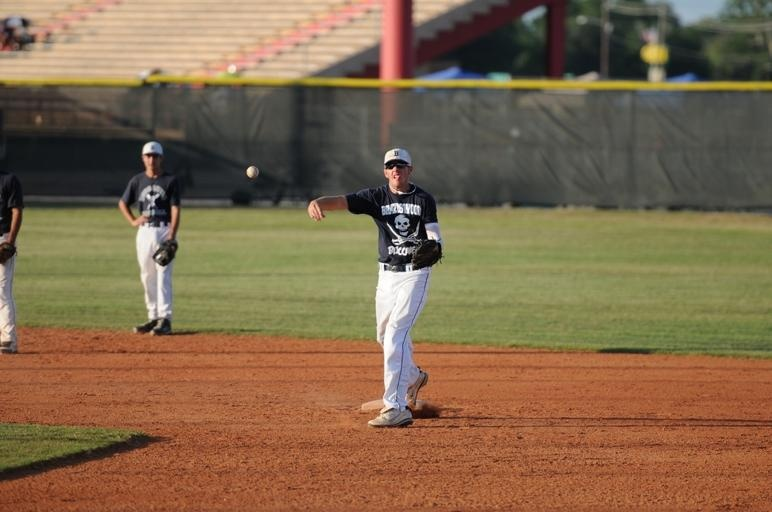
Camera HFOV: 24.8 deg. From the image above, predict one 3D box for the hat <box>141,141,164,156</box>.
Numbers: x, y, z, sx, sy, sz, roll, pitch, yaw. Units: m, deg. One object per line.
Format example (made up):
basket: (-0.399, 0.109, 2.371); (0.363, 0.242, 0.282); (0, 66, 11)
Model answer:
hat: (-4.136, -1.849, 30.928); (0.445, 0.310, 0.602); (1, -2, -6)

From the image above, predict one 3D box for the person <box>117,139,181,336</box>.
person: (-4.104, -0.252, 30.752); (0.954, 3.374, 0.545); (-1, 6, 6)

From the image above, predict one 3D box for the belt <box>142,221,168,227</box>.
belt: (-4.014, -0.520, 30.685); (0.402, 0.098, 0.077); (-1, 6, -4)

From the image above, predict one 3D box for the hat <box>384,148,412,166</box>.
hat: (0.184, -1.558, 28.296); (0.354, 0.251, 0.483); (0, 1, 9)
